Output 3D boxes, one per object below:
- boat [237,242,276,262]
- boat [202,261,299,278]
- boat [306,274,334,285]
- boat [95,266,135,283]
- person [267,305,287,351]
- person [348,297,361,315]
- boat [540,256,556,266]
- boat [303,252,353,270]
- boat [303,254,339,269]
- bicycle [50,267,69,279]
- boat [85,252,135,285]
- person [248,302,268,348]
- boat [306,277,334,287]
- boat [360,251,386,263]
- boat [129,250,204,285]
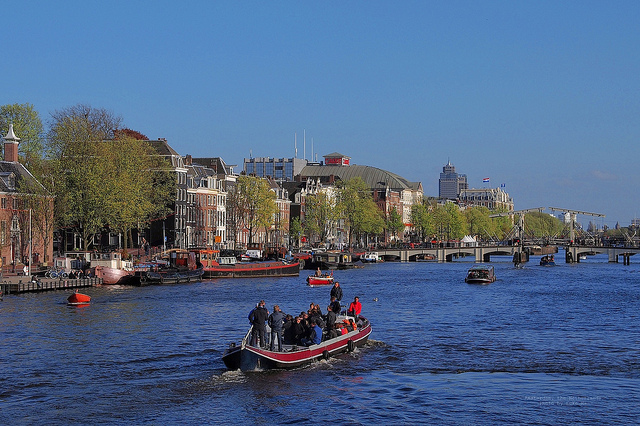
[{"bbox_3d":[-8.699,6.052,170.624,1.890,2.146,7.272,-2,-8,21],"label":"boat"},{"bbox_3d":[-8.532,7.303,152.254,1.169,2.062,16.467,-4,-5,38],"label":"boat"},{"bbox_3d":[0.119,8.129,142.289,1.363,0.897,4.006,-4,-5,34],"label":"boat"},{"bbox_3d":[-22.495,6.965,133.344,1.100,1.723,4.315,-4,-5,37],"label":"boat"},{"bbox_3d":[-3.148,8.487,87.654,1.042,3.234,1.565,-1,-4,-3],"label":"person"},{"bbox_3d":[2.679,7.503,96.379,0.916,1.392,2.248,-2,-4,0],"label":"person"},{"bbox_3d":[37.932,8.459,206.532,1.463,1.189,2.790,-1,-5,2],"label":"boat"},{"bbox_3d":[1.125,7.333,178.808,2.341,2.006,7.784,-3,-6,28],"label":"boat"},{"bbox_3d":[-0.006,7.338,177.237,4.414,2.293,5.797,-2,-4,7],"label":"boat"},{"bbox_3d":[-27.747,6.712,130.331,1.677,1.006,0.866,5,-14,-31],"label":"bicycle"},{"bbox_3d":[-22.769,6.294,133.739,4.555,3.593,3.785,-1,-4,-10],"label":"boat"},{"bbox_3d":[-4.352,8.157,86.992,1.173,3.295,1.576,0,-4,-17],"label":"person"},{"bbox_3d":[0.017,8.162,142.124,1.210,0.983,3.645,-4,-5,36],"label":"boat"},{"bbox_3d":[8.365,7.792,206.160,1.599,1.288,4.911,-6,-11,28],"label":"boat"},{"bbox_3d":[-16.834,6.756,139.879,2.946,2.403,8.121,2,1,32],"label":"boat"}]
